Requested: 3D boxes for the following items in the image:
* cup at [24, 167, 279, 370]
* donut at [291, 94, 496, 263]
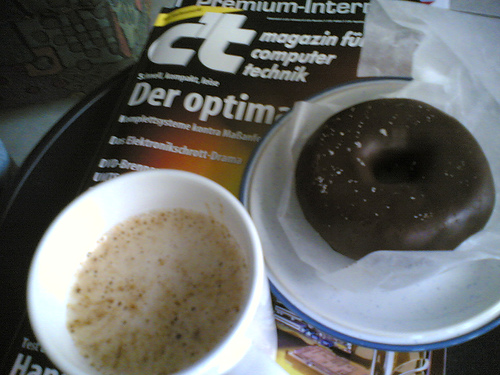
[{"bbox_3d":[-0.112,0.099,0.464,0.247,0.105,0.229,1,65,-2],"label":"cup"},{"bbox_3d":[0.196,-0.016,0.589,0.269,0.078,0.236,-7,65,-6],"label":"donut"}]
